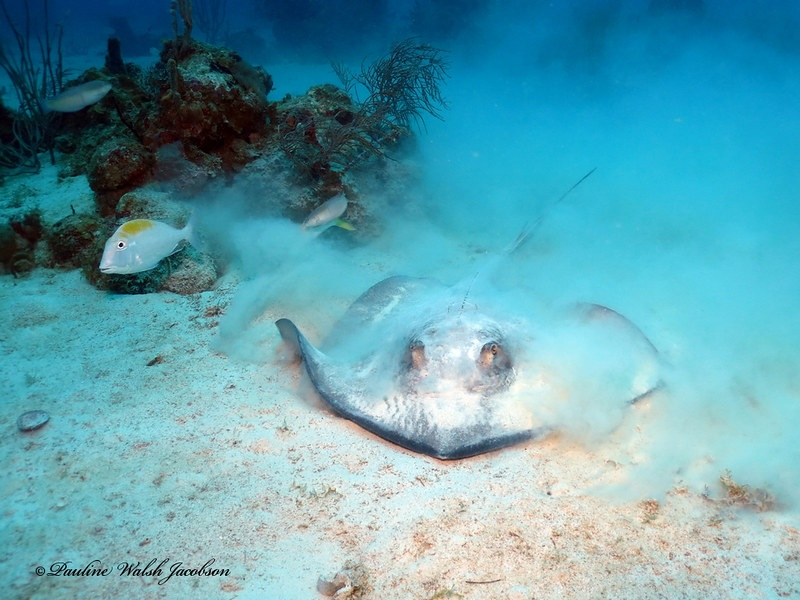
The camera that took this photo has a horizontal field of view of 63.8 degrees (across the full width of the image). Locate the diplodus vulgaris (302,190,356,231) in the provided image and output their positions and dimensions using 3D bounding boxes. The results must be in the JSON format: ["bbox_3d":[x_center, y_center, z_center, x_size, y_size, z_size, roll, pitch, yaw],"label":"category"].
[{"bbox_3d":[-0.927,-1.246,8.835,0.332,0.383,0.911,31,30,8],"label":"diplodus vulgaris"}]

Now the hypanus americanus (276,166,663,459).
[{"bbox_3d":[0.816,0.171,8.496,2.608,0.495,4.638,7,24,16],"label":"hypanus americanus"}]

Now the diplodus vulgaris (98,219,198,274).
[{"bbox_3d":[-3.036,-0.674,7.608,1.156,0.506,0.344,-28,56,-38],"label":"diplodus vulgaris"}]
